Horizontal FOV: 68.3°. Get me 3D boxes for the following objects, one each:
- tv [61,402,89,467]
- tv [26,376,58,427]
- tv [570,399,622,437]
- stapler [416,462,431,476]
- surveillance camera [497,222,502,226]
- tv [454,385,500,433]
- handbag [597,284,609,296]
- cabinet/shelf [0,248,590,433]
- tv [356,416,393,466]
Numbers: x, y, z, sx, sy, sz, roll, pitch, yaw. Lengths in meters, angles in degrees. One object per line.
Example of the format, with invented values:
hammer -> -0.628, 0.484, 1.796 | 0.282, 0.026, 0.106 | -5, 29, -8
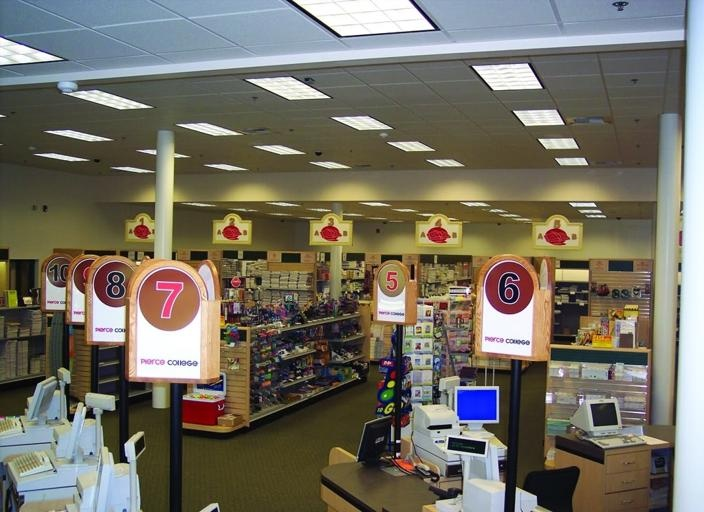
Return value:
tv -> -2.563, 1.638, 4.805 | 0.137, 0.597, 0.343 | 2, 2, -27
tv -> -3.369, 1.584, 5.620 | 0.263, 0.509, 0.459 | 1, 2, -30
tv -> 2.915, 1.857, 6.035 | 0.501, 0.371, 0.461 | 2, -4, -28
stapler -> 0.678, 2.020, 4.906 | 0.058, 0.065, 0.150 | 27, 10, -19
surveillance camera -> 7.052, -1.509, 24.809 | 0.196, 0.085, 0.124 | 2, 2, 6
tv -> 1.218, 1.450, 5.052 | 0.416, 0.360, 0.173 | 2, 2, 4
handbag -> 6.139, 0.839, 12.626 | 0.286, 0.243, 0.285 | 4, 5, 32
cabinet/shelf -> -0.207, 2.033, 11.358 | 10.158, 2.175, 3.197 | 1, 2, -27
tv -> 0.232, 1.816, 5.141 | 0.458, 0.468, 0.185 | 1, 3, -44
